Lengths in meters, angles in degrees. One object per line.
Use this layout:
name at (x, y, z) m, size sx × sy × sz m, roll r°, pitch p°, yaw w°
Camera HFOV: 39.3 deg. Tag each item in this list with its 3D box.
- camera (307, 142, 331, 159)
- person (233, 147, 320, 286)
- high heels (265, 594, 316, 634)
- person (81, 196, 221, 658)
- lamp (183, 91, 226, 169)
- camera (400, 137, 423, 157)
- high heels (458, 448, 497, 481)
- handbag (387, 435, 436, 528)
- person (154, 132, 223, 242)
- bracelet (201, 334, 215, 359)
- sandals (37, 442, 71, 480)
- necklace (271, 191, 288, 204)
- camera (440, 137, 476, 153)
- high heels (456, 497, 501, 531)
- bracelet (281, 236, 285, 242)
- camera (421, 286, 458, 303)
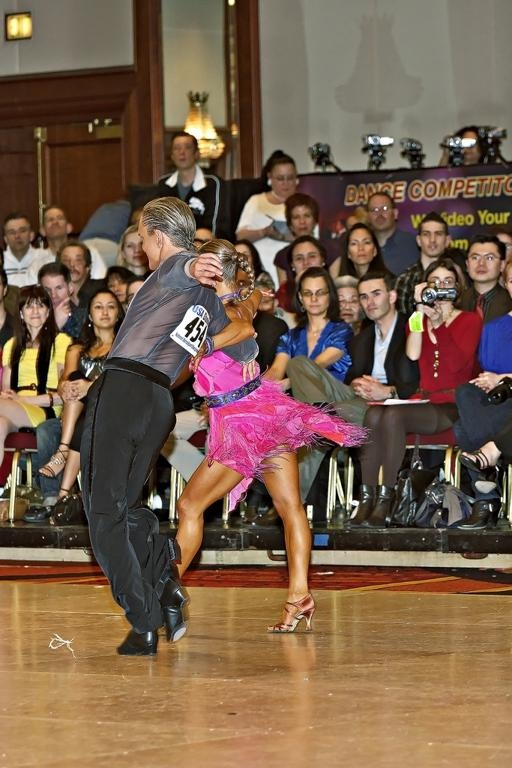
camera at (0.699, -2.595, 8.005) m, size 0.237 × 0.130 × 0.300 m, roll 3°, pitch -20°, yaw 2°
person at (0.200, -1.585, 7.228) m, size 0.491 × 0.418 × 1.268 m, roll 16°, pitch -14°, yaw 0°
high heels at (0.148, 0.865, 2.730) m, size 0.213 × 0.142 × 0.108 m, roll -2°, pitch 1°, yaw -18°
person at (-0.323, 0.226, 2.338) m, size 0.495 × 1.282 × 0.290 m, roll -6°, pitch 6°, yaw -17°
lamp at (-0.756, -3.310, 9.289) m, size 0.605 × 0.821 × 0.568 m, roll -1°, pitch 15°, yaw 12°
camera at (1.670, -2.555, 7.720) m, size 0.221 × 0.214 × 0.324 m, roll -2°, pitch 5°, yaw 12°
high heels at (1.308, 0.468, 4.166) m, size 0.116 × 0.087 × 0.319 m, roll 30°, pitch -17°, yaw 24°
handbag at (0.961, 0.595, 4.477) m, size 0.234 × 0.469 × 0.415 m, roll 16°, pitch 20°, yaw 26°
person at (-0.717, -2.006, 7.404) m, size 0.779 × 1.084 × 0.611 m, roll 3°, pitch 8°, yaw 18°
bracelet at (-0.169, -0.130, 2.514) m, size 0.049 × 0.057 × 0.024 m, roll 9°, pitch 7°, yaw 11°
sandals at (-1.411, 0.545, 5.207) m, size 0.141 × 0.156 × 0.379 m, roll 34°, pitch 17°, yaw -1°
necklace at (0.221, -1.857, 7.133) m, size 0.176 × 0.113 × 0.158 m, roll 1°, pitch 11°, yaw 2°
camera at (2.019, -2.415, 7.158) m, size 0.344 × 0.183 × 0.268 m, roll -2°, pitch 5°, yaw 16°
high heels at (1.296, 0.770, 4.187) m, size 0.245 × 0.167 × 0.208 m, roll -2°, pitch 5°, yaw 14°
bracelet at (0.260, -1.419, 6.987) m, size 0.053 × 0.045 × 0.012 m, roll -3°, pitch 3°, yaw 24°
camera at (1.223, -0.586, 4.772) m, size 0.273 × 0.114 × 0.119 m, roll -3°, pitch 5°, yaw -2°
